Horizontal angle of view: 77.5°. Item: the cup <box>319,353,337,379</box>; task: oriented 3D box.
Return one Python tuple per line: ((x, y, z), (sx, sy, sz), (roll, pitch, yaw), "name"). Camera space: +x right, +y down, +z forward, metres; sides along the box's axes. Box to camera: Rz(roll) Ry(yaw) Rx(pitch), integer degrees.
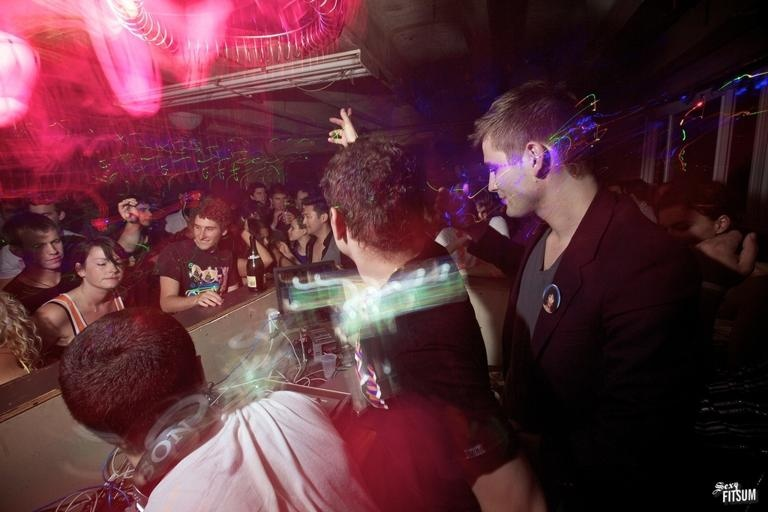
((-0.403, 0.799, 3.530), (0.167, 0.202, 0.133), (2, -2, -23), "cup")
